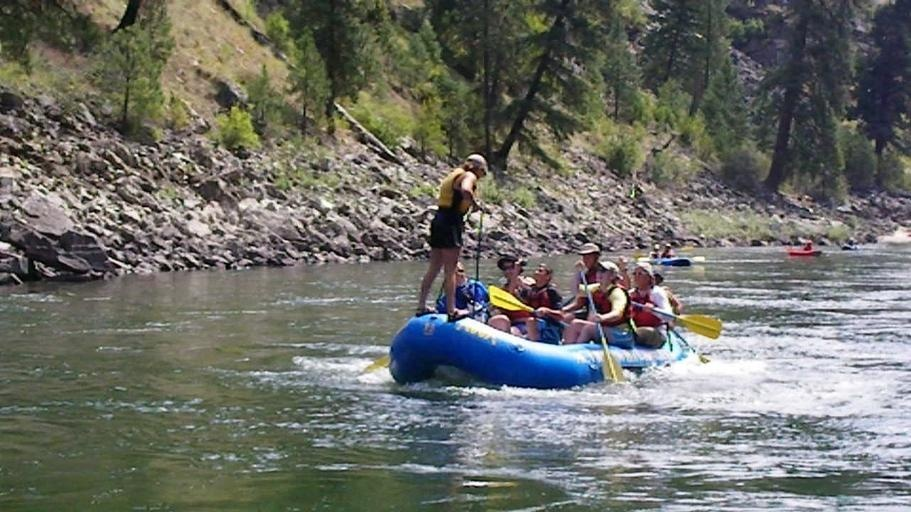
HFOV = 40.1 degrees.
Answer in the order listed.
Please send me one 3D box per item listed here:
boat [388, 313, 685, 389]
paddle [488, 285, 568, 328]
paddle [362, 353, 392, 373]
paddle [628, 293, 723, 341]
[{"bbox_3d":[3.383,5.029,56.961,8.987,3.100,14.677,2,-7,39],"label":"boat"},{"bbox_3d":[2.926,2.222,52.512,3.551,1.000,0.463,21,-49,-11],"label":"paddle"},{"bbox_3d":[-3.251,4.549,52.375,1.580,0.457,0.467,-24,15,23],"label":"paddle"},{"bbox_3d":[9.566,2.518,54.650,4.863,0.634,0.894,18,37,42],"label":"paddle"}]
